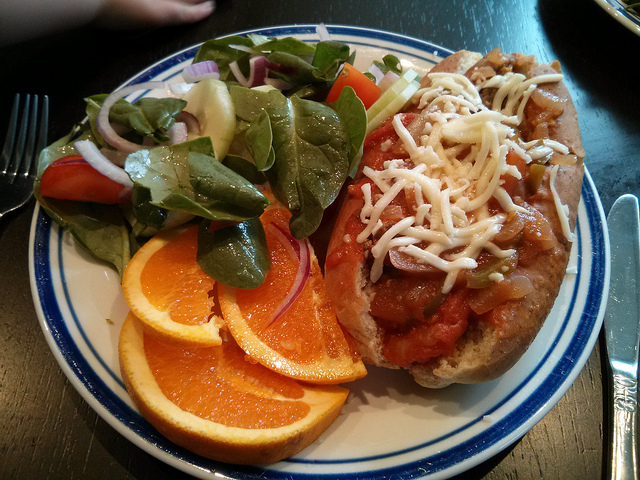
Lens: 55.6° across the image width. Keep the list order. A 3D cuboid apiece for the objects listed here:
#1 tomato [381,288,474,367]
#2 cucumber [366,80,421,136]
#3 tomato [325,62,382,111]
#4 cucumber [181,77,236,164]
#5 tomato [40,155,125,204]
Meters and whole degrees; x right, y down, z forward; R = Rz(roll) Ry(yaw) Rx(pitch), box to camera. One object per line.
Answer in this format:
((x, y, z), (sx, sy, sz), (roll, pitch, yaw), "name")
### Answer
((0.456, 0.400, 2.544), (0.271, 0.349, 0.093), (37, 26, -27), "tomato")
((0.356, -0.609, 2.916), (0.057, 0.265, 0.255), (45, -8, -1), "cucumber")
((0.186, -0.764, 3.025), (0.089, 0.220, 0.259), (-28, 35, 15), "tomato")
((-0.486, -0.569, 2.717), (0.242, 0.394, 0.075), (-9, -14, 37), "cucumber")
((-1.061, -0.278, 2.806), (0.350, 0.175, 0.200), (5, -39, -8), "tomato")
